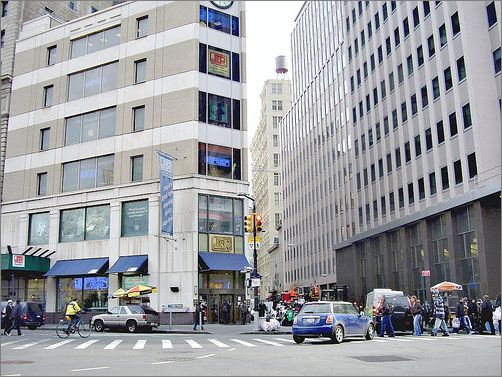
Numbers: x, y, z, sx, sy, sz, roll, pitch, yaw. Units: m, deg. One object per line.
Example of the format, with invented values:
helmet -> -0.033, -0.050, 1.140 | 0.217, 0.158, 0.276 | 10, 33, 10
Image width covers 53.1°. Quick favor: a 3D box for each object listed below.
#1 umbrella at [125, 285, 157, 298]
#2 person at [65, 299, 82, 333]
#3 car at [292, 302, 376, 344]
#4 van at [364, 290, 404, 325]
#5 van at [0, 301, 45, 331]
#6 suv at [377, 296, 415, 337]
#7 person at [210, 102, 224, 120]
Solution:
umbrella -> -8.698, 8.005, 39.123 | 2.138, 0.884, 3.401 | 3, -21, -14
person -> -10.067, 7.165, 28.309 | 0.826, 1.952, 1.129 | 4, -20, -18
car -> 3.893, 6.511, 24.380 | 3.568, 1.968, 1.848 | 10, -23, -32
van -> 7.862, 7.062, 30.333 | 1.858, 1.945, 3.121 | 0, -7, 6
van -> -17.129, 9.308, 37.017 | 3.491, 1.665, 1.991 | -2, -11, 27
suv -> 8.262, 7.177, 28.678 | 1.747, 1.634, 2.774 | -1, -10, 7
person -> -3.037, -6.697, 43.843 | 0.336, 1.401, 1.426 | -2, 4, 44
